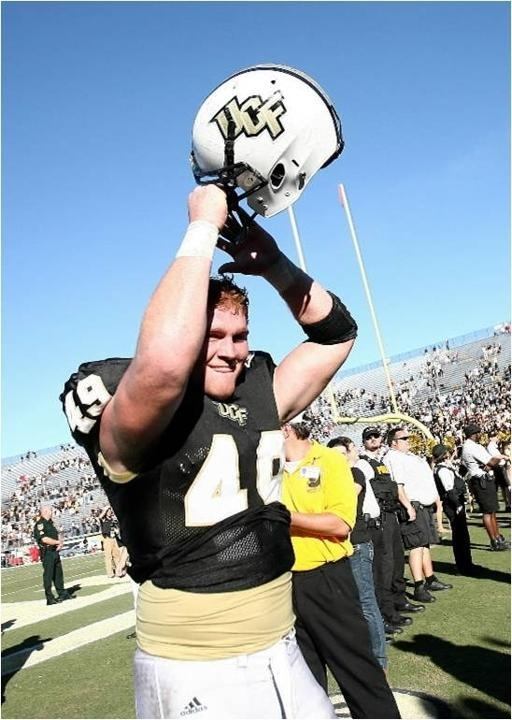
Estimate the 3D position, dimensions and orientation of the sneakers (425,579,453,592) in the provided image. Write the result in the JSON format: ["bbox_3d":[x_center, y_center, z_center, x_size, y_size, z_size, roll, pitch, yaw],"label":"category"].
[{"bbox_3d":[2.225,2.756,6.386,0.351,0.152,0.119,-1,-10,-2],"label":"sneakers"}]

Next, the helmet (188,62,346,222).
[{"bbox_3d":[0.027,-0.642,1.491,0.462,0.368,0.362,-7,24,2],"label":"helmet"}]

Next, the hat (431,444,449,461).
[{"bbox_3d":[2.857,1.415,7.928,0.280,0.106,0.236,-50,0,-32],"label":"hat"}]

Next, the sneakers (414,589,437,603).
[{"bbox_3d":[1.891,2.631,5.805,0.223,0.214,0.117,-7,-20,14],"label":"sneakers"}]

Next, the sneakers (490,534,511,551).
[{"bbox_3d":[4.060,3.051,8.608,0.161,0.154,0.347,-1,-27,0],"label":"sneakers"}]
